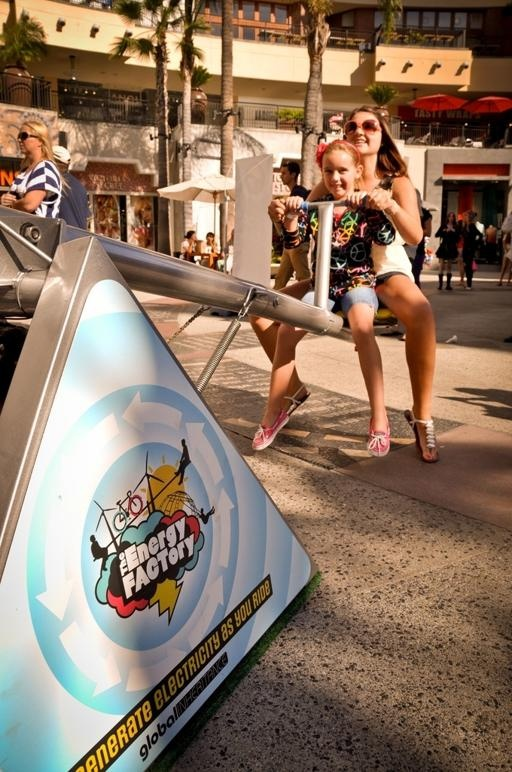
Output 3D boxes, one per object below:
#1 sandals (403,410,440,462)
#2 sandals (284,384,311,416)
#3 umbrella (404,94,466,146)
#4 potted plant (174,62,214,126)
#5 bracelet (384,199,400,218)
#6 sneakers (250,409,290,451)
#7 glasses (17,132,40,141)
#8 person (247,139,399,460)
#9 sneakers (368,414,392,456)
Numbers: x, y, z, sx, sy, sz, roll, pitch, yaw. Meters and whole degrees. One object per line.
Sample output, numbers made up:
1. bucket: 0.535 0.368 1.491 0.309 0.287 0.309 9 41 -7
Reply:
1. sandals: 0.805 0.233 2.776 0.090 0.116 0.297 -9 58 -5
2. sandals: 0.231 0.076 3.137 0.223 0.089 0.091 -46 9 -36
3. umbrella: 10.257 -15.483 31.843 2.574 1.825 2.445 -4 8 -25
4. potted plant: -2.916 -14.435 27.680 1.126 2.440 1.113 10 17 10
5. bracelet: 0.598 -0.780 2.456 0.030 0.057 0.077 26 15 8
6. sneakers: 0.070 0.238 2.901 0.281 0.104 0.104 -49 21 -20
7. glasses: -1.410 -1.563 3.516 0.070 0.025 0.067 0 8 -43
8. person: 0.358 -0.418 2.759 0.669 1.507 0.743 4 12 15
9. sneakers: 0.588 0.240 2.615 0.081 0.081 0.223 1 56 11
